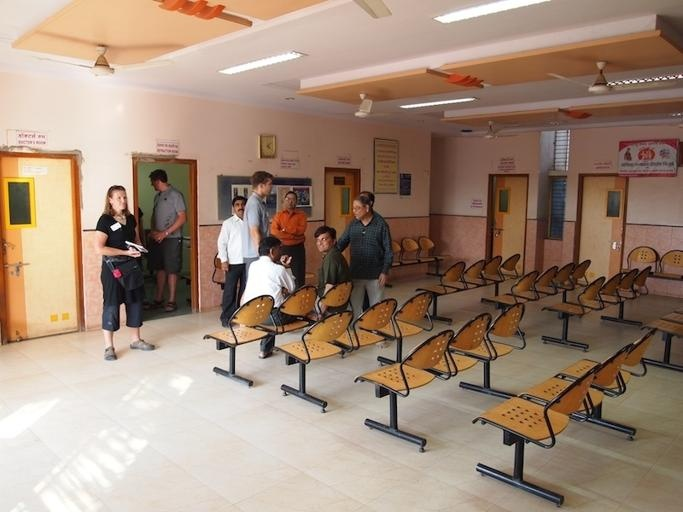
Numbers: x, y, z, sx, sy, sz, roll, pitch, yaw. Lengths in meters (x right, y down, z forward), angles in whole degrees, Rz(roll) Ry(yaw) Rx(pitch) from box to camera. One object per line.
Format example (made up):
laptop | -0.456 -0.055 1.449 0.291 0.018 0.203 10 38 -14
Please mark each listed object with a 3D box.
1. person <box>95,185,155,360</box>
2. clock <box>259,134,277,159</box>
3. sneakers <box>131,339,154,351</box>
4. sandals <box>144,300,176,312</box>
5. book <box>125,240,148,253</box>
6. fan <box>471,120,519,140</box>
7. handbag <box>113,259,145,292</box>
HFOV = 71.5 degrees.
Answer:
person | -2.672 0.192 5.772 0.591 2.065 0.583 -5 15 -23
clock | -1.313 -1.940 8.433 0.110 0.436 0.396 13 18 42
sneakers | -2.563 1.142 6.108 0.273 0.087 0.133 0 0 18
sandals | -3.049 0.843 7.994 0.585 0.124 0.200 5 7 3
book | -2.409 -0.086 5.651 0.199 0.047 0.195 17 4 43
fan | 3.318 -2.694 10.138 1.020 0.295 0.911 -2 11 -15
handbag | -2.529 0.229 5.657 0.160 0.364 0.344 4 24 45
